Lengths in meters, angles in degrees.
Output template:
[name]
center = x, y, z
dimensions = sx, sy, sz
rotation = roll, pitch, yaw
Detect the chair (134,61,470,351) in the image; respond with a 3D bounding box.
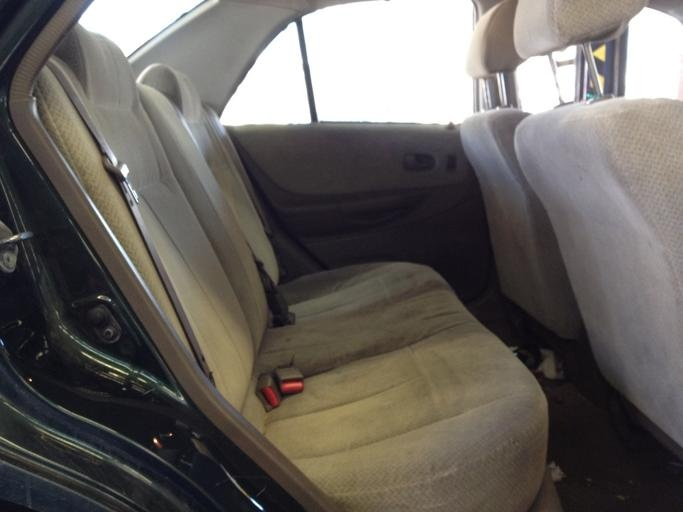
[chair]
center = -0.065, -0.208, 1.774
dimensions = 0.767, 1.046, 0.589
rotation = -15, 5, -5
